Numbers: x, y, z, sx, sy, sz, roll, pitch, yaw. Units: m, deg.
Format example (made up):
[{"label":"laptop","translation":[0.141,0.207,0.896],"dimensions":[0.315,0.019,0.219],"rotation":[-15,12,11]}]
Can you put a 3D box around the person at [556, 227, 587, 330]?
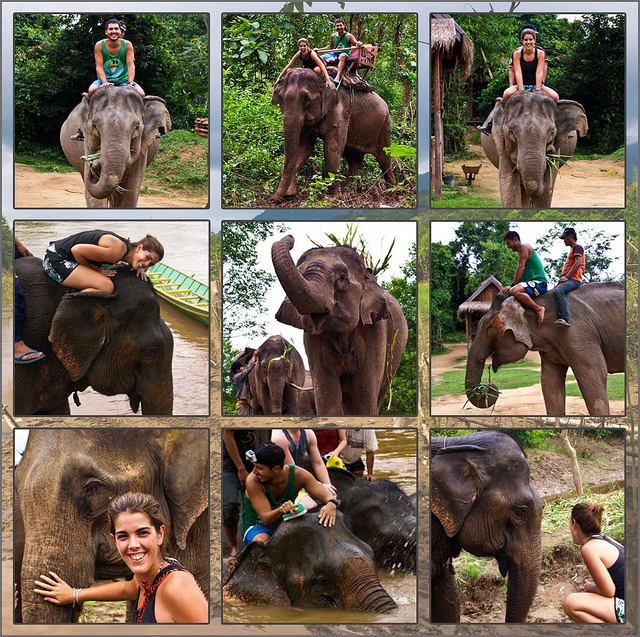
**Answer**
[{"label":"person","translation":[2.342,-0.389,7.636],"dimensions":[0.230,0.916,0.900],"rotation":[2,8,18]}]

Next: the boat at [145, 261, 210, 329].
[{"label":"boat","translation":[-1.578,-0.244,9.080],"dimensions":[0.260,0.189,1.084],"rotation":[-15,41,-31]}]

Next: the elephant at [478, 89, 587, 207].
[{"label":"elephant","translation":[2.038,-1.595,7.693],"dimensions":[0.689,1.080,0.801],"rotation":[-3,8,-22]}]

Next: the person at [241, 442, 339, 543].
[{"label":"person","translation":[-0.247,1.325,6.214],"dimensions":[0.700,0.775,0.589],"rotation":[3,20,8]}]

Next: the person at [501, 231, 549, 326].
[{"label":"person","translation":[1.863,-0.361,7.409],"dimensions":[0.387,0.850,0.605],"rotation":[2,7,14]}]

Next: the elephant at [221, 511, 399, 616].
[{"label":"elephant","translation":[-0.112,1.820,6.302],"dimensions":[1.092,0.660,0.672],"rotation":[-2,-6,16]}]

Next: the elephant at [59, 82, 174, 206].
[{"label":"elephant","translation":[-1.980,-1.633,8.027],"dimensions":[1.034,1.202,1.800],"rotation":[0,12,-18]}]

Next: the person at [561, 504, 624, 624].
[{"label":"person","translation":[2.091,1.861,6.205],"dimensions":[0.437,0.959,0.281],"rotation":[3,8,20]}]

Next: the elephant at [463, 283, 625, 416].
[{"label":"elephant","translation":[2.337,0.336,7.745],"dimensions":[2.057,1.266,0.811],"rotation":[-3,-3,-8]}]

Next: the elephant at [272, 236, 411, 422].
[{"label":"elephant","translation":[0.243,0.042,6.771],"dimensions":[0.786,1.185,1.739],"rotation":[-8,-37,16]}]

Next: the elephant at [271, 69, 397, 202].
[{"label":"elephant","translation":[0.149,-1.818,8.043],"dimensions":[0.745,1.161,1.821],"rotation":[13,18,39]}]

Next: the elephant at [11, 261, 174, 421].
[{"label":"elephant","translation":[-1.854,0.242,6.788],"dimensions":[1.720,1.295,0.887],"rotation":[2,10,-6]}]

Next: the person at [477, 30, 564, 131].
[{"label":"person","translation":[1.879,-2.164,7.431],"dimensions":[0.717,0.969,0.766],"rotation":[-17,28,-27]}]

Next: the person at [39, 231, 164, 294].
[{"label":"person","translation":[-1.827,-0.425,6.840],"dimensions":[0.921,0.655,0.537],"rotation":[10,10,-4]}]

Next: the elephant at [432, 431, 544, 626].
[{"label":"elephant","translation":[1.315,1.670,6.432],"dimensions":[0.859,1.593,0.559],"rotation":[1,7,7]}]
